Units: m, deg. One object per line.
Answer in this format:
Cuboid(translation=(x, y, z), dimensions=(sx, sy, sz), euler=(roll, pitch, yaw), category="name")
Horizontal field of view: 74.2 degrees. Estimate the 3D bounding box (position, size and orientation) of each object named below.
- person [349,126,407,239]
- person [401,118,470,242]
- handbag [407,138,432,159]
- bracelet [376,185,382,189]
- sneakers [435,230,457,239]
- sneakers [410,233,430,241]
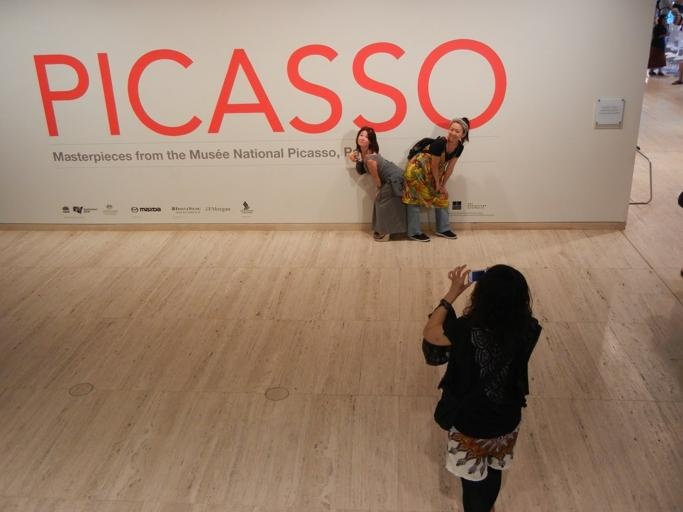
Cuboid(translation=(0.500, -0.962, 6.044), dimensions=(0.752, 1.446, 0.376), euler=(14, 28, 33), category="person")
Cuboid(translation=(1.206, -1.046, 5.933), dimensions=(0.892, 1.758, 0.597), euler=(23, 36, 40), category="person")
Cuboid(translation=(1.009, -1.415, 5.926), dimensions=(0.127, 0.305, 0.213), euler=(41, 11, 29), category="handbag")
Cuboid(translation=(0.496, -0.924, 6.074), dimensions=(0.049, 0.020, 0.055), euler=(-2, -17, 8), category="bracelet")
Cuboid(translation=(1.427, -0.296, 6.202), dimensions=(0.241, 0.125, 0.123), euler=(8, 27, 20), category="sneakers")
Cuboid(translation=(1.054, -0.270, 6.159), dimensions=(0.274, 0.142, 0.114), euler=(3, 21, 18), category="sneakers")
